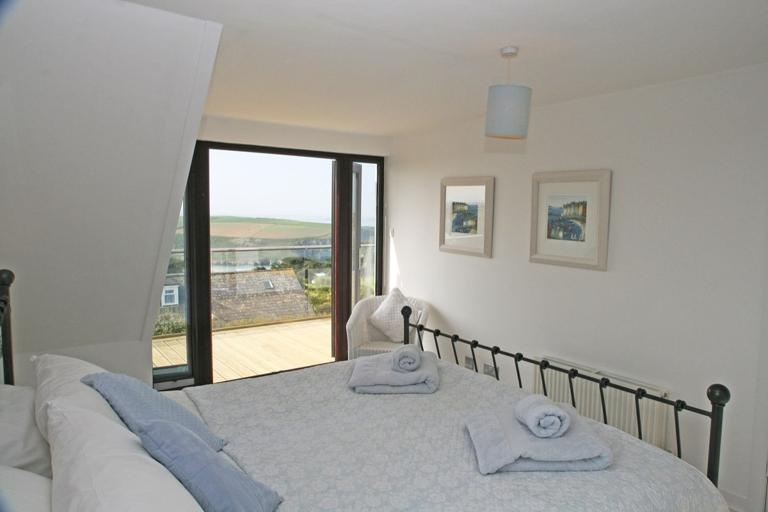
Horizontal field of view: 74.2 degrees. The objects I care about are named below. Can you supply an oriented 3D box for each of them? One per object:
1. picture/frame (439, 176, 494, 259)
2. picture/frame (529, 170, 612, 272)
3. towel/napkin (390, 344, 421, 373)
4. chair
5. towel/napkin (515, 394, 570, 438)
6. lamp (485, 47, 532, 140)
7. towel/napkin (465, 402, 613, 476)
[{"bbox_3d":[0.831,-0.379,4.946,0.062,0.770,0.814,0,3,-35],"label":"picture/frame"},{"bbox_3d":[1.545,-0.288,4.127,0.066,0.652,0.822,2,-8,-27],"label":"picture/frame"},{"bbox_3d":[0.156,0.704,3.456,0.138,0.102,0.263,-3,-1,2],"label":"towel/napkin"},{"bbox_3d":[0.076,0.775,5.293,0.682,0.758,0.714,0,-13,9],"label":"chair"},{"bbox_3d":[0.868,0.853,2.741,0.197,0.132,0.215,-1,3,-11],"label":"towel/napkin"},{"bbox_3d":[0.769,-1.018,3.146,0.347,0.506,0.339,-7,17,-17],"label":"lamp"},{"bbox_3d":[0.775,0.980,2.645,0.425,0.133,0.440,0,-1,-1],"label":"towel/napkin"}]
